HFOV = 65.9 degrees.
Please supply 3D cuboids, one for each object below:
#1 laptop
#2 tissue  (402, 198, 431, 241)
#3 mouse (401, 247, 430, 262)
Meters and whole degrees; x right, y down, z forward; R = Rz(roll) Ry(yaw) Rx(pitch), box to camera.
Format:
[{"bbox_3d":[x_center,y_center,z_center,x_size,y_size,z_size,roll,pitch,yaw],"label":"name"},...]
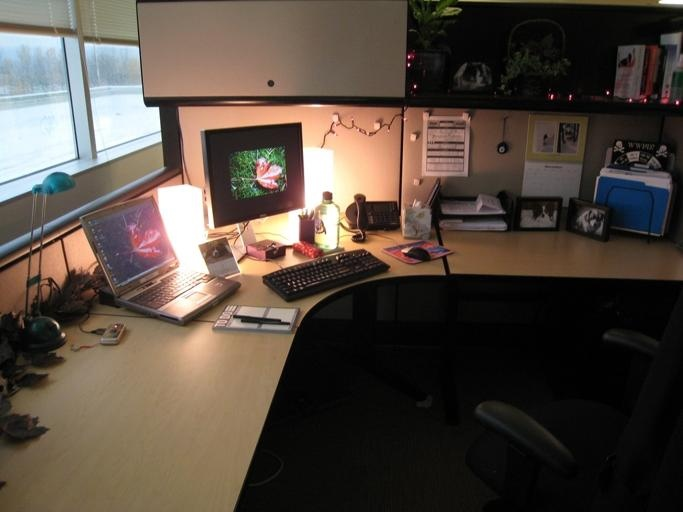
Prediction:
[{"bbox_3d":[-0.691,-0.011,2.036,0.469,0.339,0.402,13,23,29],"label":"laptop"},{"bbox_3d":[0.382,-0.192,2.665,0.140,0.188,0.116,-3,16,-7],"label":"tissue "},{"bbox_3d":[0.340,-0.019,2.412,0.095,0.033,0.060,15,23,37],"label":"mouse"}]
